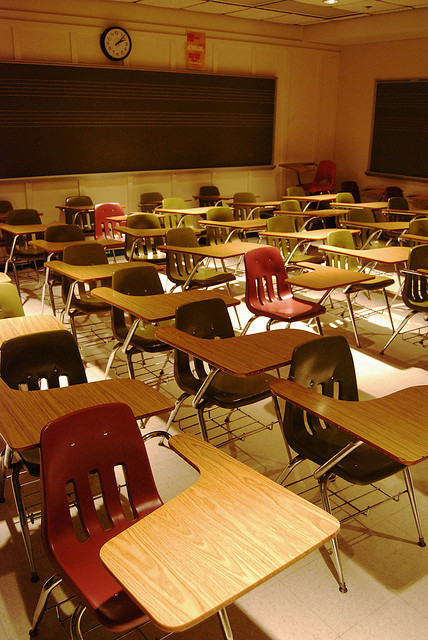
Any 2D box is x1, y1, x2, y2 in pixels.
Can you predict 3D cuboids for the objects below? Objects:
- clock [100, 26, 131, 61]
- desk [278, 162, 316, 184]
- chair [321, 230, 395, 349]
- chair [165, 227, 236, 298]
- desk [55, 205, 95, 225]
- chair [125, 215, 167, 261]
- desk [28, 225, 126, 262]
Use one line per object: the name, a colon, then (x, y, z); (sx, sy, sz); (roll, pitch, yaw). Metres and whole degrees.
clock: (-1.625, -4.505, 7.398); (0.098, 0.495, 0.503); (13, 32, 43)
desk: (1.833, -3.393, 10.049); (0.433, 0.389, 0.793); (-6, 25, -12)
chair: (1.447, -0.369, 4.790); (0.768, 1.042, 0.849); (-8, 20, -13)
chair: (-0.189, -0.644, 4.863); (0.645, 0.656, 0.902); (-1, 14, -6)
desk: (-2.144, -1.630, 7.030); (0.496, 0.197, 0.757); (2, 18, -26)
chair: (-0.789, -0.987, 5.558); (0.556, 0.546, 0.454); (-14, 27, -38)
desk: (-1.555, -0.859, 5.044); (0.770, 0.483, 0.451); (-13, 24, -37)
